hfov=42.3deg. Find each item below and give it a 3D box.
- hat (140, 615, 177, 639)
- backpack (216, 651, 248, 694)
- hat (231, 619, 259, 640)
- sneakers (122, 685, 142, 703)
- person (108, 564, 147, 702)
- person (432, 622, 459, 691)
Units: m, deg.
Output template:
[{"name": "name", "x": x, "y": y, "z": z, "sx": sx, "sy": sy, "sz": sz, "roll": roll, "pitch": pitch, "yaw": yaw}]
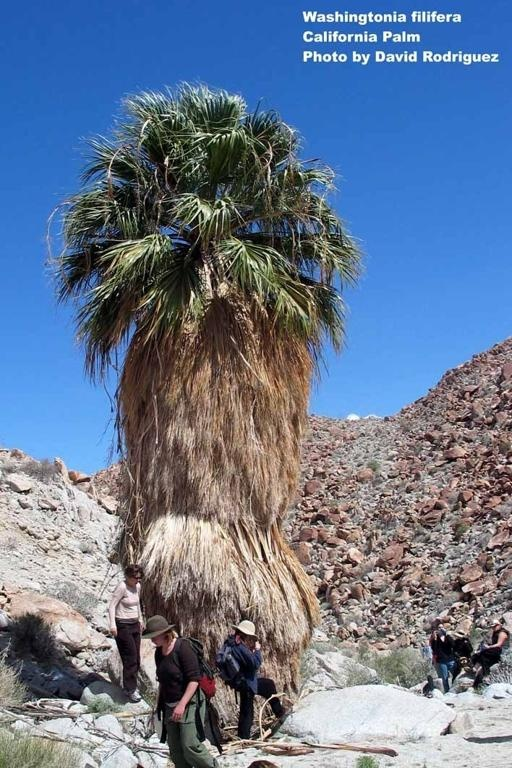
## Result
[{"name": "hat", "x": -0.625, "y": 1.595, "z": 4.238, "sx": 0.190, "sy": 0.081, "sz": 0.169, "roll": -12, "pitch": 1, "yaw": 5}, {"name": "backpack", "x": -0.222, "y": 2.373, "z": 5.513, "sx": 0.232, "sy": 0.351, "sz": 0.194, "roll": 4, "pitch": -16, "yaw": -12}, {"name": "hat", "x": -0.088, "y": 2.128, "z": 5.627, "sx": 0.177, "sy": 0.094, "sz": 0.182, "roll": 5, "pitch": -34, "yaw": 38}, {"name": "sneakers", "x": -1.209, "y": 3.045, "z": 6.467, "sx": 0.083, "sy": 0.104, "sz": 0.224, "roll": 22, "pitch": -31, "yaw": -31}, {"name": "person", "x": -1.248, "y": 2.404, "z": 6.369, "sx": 0.338, "sy": 1.270, "sz": 0.890, "roll": 4, "pitch": -16, "yaw": -9}, {"name": "person", "x": 2.679, "y": 3.913, "z": 9.448, "sx": 0.338, "sy": 0.748, "sz": 0.955, "roll": -3, "pitch": -17, "yaw": 15}]
